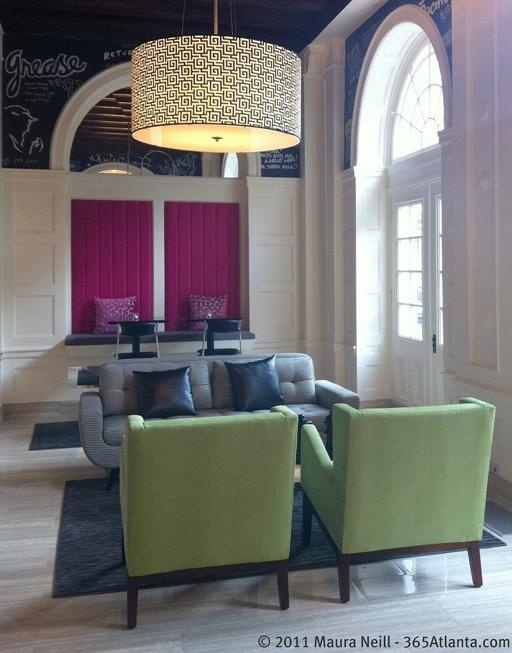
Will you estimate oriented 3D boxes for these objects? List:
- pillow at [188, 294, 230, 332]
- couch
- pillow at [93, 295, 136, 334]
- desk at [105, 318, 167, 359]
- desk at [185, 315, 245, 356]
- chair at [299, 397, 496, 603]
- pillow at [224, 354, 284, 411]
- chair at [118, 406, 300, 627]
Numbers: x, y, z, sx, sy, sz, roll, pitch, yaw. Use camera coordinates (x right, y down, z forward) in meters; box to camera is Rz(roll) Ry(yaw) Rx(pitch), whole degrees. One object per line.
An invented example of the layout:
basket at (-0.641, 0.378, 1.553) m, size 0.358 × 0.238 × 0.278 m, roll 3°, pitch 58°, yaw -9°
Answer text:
pillow at (-0.567, -0.152, 6.625) m, size 0.395 × 0.425 × 0.141 m, roll 2°, pitch -18°, yaw -21°
couch at (-0.277, 0.648, 4.112) m, size 1.925 × 0.814 × 0.671 m, roll 0°, pitch 3°, yaw -19°
pillow at (-1.601, -0.121, 6.438) m, size 0.384 × 0.380 × 0.142 m, roll -3°, pitch -22°, yaw -25°
desk at (-1.170, 0.071, 5.690) m, size 0.499 × 0.403 × 0.427 m, roll -1°, pitch 7°, yaw -12°
desk at (-0.396, 0.111, 5.893) m, size 0.445 × 0.398 × 1.248 m, roll 0°, pitch 2°, yaw -5°
chair at (0.536, 0.640, 2.558) m, size 0.628 × 0.916 × 0.800 m, roll -1°, pitch 6°, yaw -8°
pillow at (0.005, 0.415, 4.121) m, size 0.347 × 0.368 × 0.153 m, roll -4°, pitch -22°, yaw -28°
chair at (-0.222, 0.631, 2.448) m, size 0.680 × 0.933 × 0.690 m, roll 0°, pitch 21°, yaw -9°
